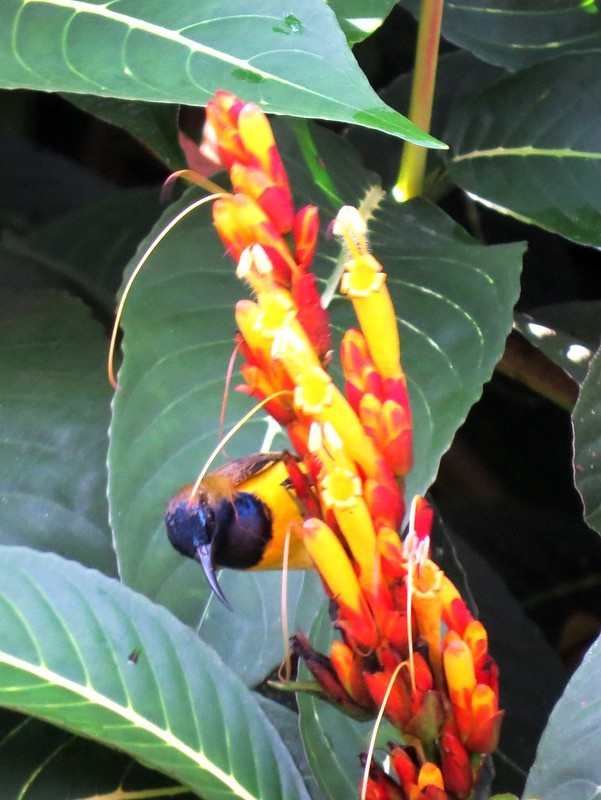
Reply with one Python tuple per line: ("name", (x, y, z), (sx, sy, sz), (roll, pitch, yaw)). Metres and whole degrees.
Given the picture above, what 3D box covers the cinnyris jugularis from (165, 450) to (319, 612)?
("cinnyris jugularis", (-0.015, 0.057, 0.455), (0.045, 0.057, 0.090), (-48, -10, 24))
